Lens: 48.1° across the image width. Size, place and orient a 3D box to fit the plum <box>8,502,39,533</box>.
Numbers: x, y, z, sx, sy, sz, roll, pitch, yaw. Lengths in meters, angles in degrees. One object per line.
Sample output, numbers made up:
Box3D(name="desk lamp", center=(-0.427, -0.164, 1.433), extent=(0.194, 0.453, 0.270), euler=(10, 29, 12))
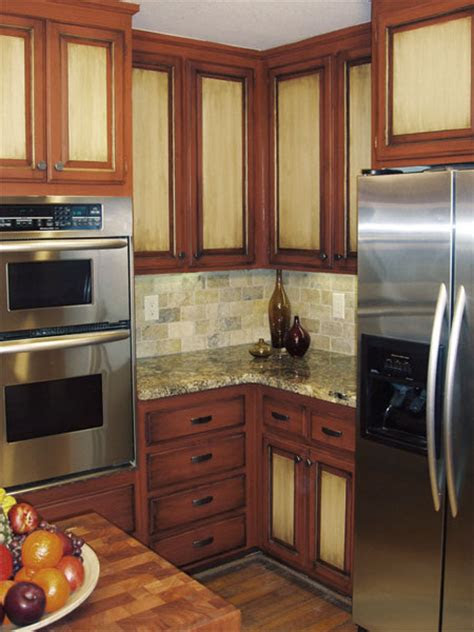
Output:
Box3D(name="plum", center=(-0.340, 0.321, 0.864), extent=(0.039, 0.038, 0.038), euler=(18, -2, 24))

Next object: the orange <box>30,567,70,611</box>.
Box3D(name="orange", center=(-0.248, 0.369, 0.719), extent=(0.052, 0.054, 0.053), euler=(2, 2, -3))

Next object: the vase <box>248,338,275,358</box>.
Box3D(name="vase", center=(0.131, 0.182, 2.970), extent=(0.144, 0.109, 0.120), euler=(0, 9, 15))

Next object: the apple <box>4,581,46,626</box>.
Box3D(name="apple", center=(-0.266, 0.365, 0.666), extent=(0.048, 0.052, 0.035), euler=(-7, 10, -28))

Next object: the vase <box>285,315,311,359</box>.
Box3D(name="vase", center=(0.340, 0.115, 3.025), extent=(0.127, 0.242, 0.225), euler=(-2, 9, 4))
